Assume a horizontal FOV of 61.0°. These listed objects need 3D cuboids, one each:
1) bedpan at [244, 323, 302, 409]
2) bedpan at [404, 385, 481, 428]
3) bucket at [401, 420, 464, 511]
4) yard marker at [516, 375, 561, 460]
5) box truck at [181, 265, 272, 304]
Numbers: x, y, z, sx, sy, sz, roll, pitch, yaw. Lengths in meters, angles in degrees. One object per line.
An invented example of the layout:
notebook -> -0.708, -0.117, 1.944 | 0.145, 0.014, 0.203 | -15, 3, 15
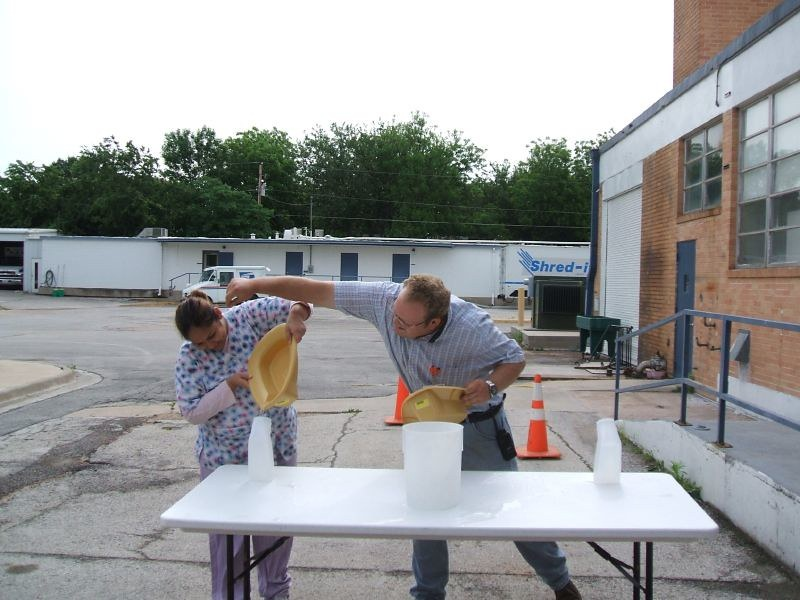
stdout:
bedpan -> -0.774, 0.399, 4.141 | 0.449, 0.540, 0.161 | -19, -20, 35
bedpan -> 0.229, 0.583, 3.994 | 0.307, 0.242, 0.360 | 3, 6, -24
bucket -> 0.203, 0.901, 3.816 | 0.347, 0.444, 0.413 | 1, 1, 6
yard marker -> 1.443, 1.186, 7.169 | 0.427, 0.879, 0.414 | 1, 0, 0
box truck -> -7.790, -0.623, 29.796 | 3.601, 1.803, 1.942 | -1, 2, -28
